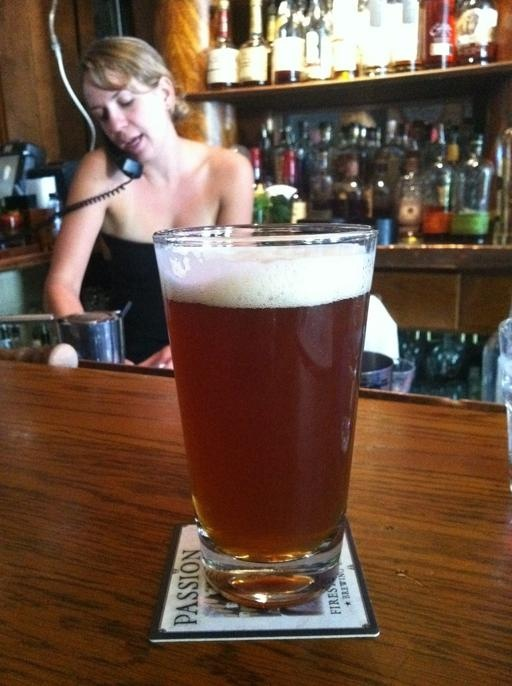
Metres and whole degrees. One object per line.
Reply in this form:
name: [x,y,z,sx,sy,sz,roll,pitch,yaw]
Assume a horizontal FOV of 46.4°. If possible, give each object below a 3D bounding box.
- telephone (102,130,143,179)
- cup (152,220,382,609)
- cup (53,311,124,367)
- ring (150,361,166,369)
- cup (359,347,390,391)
telephone: [-0.441,-0.604,1.996,0.107,0.171,0.061,-28,64,-10]
cup: [0.015,0.042,0.338,0.122,0.207,0.070,-4,15,-9]
cup: [-0.285,-0.005,1.024,0.113,0.111,0.087,7,29,6]
ring: [-0.215,0.048,1.313,0.022,0.020,0.021,0,-3,0]
cup: [0.148,0.034,0.780,0.058,0.061,0.058,0,-2,0]
